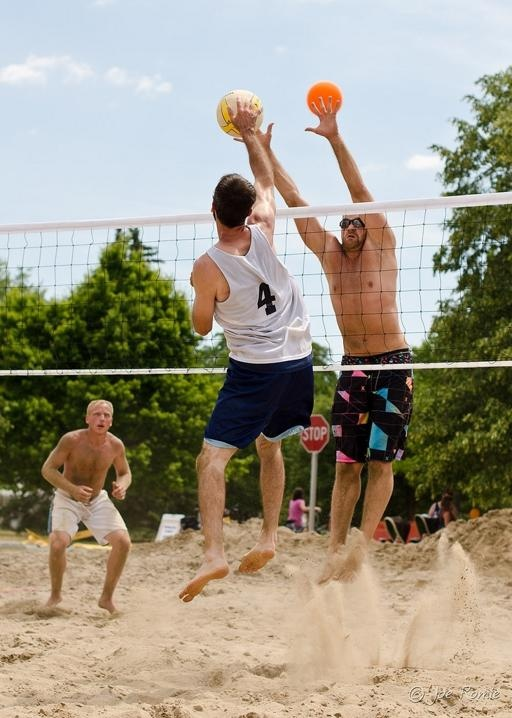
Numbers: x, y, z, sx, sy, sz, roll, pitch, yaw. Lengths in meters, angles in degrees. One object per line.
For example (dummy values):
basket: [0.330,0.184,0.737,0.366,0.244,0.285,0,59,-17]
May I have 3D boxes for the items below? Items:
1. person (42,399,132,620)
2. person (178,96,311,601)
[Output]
person: [-1.189,1.038,6.922,0.611,1.502,0.643,-2,-4,-8]
person: [-0.048,-0.119,4.934,0.509,2.599,0.786,-4,-4,27]
